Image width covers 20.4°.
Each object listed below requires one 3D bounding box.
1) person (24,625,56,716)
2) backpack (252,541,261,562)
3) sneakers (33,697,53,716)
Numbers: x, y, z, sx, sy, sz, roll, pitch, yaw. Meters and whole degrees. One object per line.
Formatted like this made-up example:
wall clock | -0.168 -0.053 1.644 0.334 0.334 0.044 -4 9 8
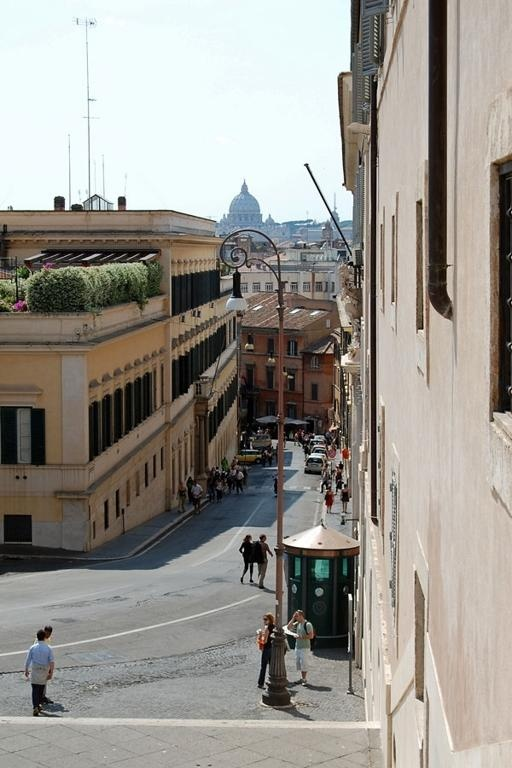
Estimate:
person | -2.574 3.340 16.990 0.320 0.948 1.613 -1 -5 -9
backpack | 0.044 3.410 29.436 0.069 0.366 0.217 4 -2 -5
sneakers | -2.505 3.755 16.845 0.079 0.156 0.310 3 11 5
